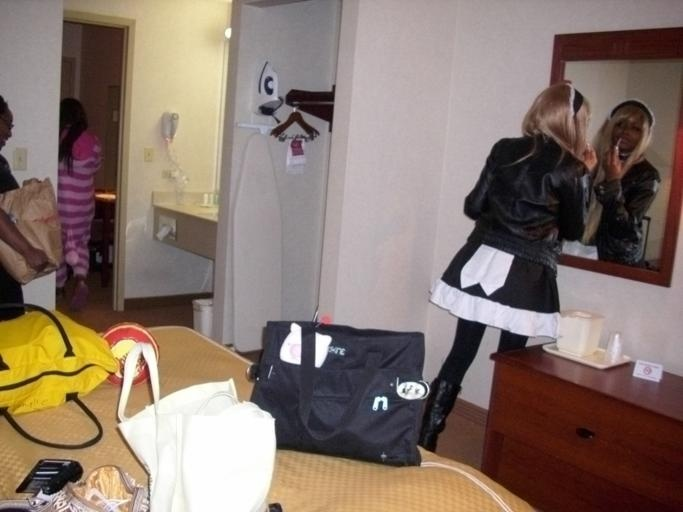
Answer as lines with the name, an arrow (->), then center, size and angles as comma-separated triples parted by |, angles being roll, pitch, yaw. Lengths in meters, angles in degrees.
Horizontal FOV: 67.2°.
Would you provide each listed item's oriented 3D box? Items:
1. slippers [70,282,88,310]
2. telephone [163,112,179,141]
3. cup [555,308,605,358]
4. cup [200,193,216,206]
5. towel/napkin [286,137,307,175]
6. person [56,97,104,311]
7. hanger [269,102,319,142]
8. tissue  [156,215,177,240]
slippers -> -2.399, 0.362, 4.727 | 0.128, 0.300, 0.121 | 15, -3, -28
telephone -> -1.586, -1.199, 4.718 | 0.140, 0.265, 0.079 | -1, 12, -20
cup -> 1.141, 0.360, 2.505 | 0.175, 0.209, 0.227 | 2, 3, 5
cup -> -1.292, -0.550, 4.933 | 0.108, 0.119, 0.064 | 7, 8, 3
towel/napkin -> -0.359, -0.780, 3.918 | 0.157, 0.241, 0.068 | 0, 10, -6
person -> -2.413, -0.479, 4.651 | 0.334, 1.864, 0.350 | 4, 11, 4
hanger -> -0.352, -1.003, 3.891 | 0.371, 0.251, 0.251 | 3, 11, -6
tissue  -> -1.583, -0.257, 4.693 | 0.214, 0.236, 0.052 | -1, -9, 38
